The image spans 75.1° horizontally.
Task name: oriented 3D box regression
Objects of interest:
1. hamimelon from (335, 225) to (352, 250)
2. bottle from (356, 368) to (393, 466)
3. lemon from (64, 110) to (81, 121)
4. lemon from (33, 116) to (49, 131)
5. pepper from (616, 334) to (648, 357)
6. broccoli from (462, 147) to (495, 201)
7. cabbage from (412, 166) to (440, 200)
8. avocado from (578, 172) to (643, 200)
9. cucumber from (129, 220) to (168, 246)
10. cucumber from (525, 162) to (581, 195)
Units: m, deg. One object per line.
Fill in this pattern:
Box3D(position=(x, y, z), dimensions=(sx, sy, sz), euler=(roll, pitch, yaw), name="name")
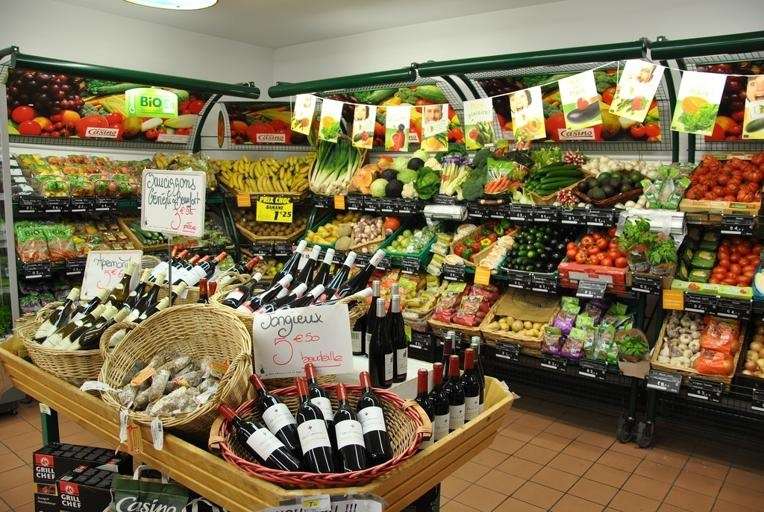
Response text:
Box3D(position=(-0.447, -0.216, 5.970), dimensions=(0.206, 0.297, 0.143), euler=(1, -18, 35), name="hamimelon")
Box3D(position=(-0.033, 0.755, 2.293), dimensions=(0.135, 0.129, 0.485), euler=(-26, 41, 5), name="bottle")
Box3D(position=(-3.418, -1.547, 5.495), dimensions=(0.149, 0.108, 0.109), euler=(-1, 30, -31), name="lemon")
Box3D(position=(-3.682, -1.427, 5.391), dimensions=(0.154, 0.127, 0.142), euler=(4, -2, -10), name="lemon")
Box3D(position=(2.179, 0.781, 4.308), dimensions=(0.211, 0.187, 0.072), euler=(27, 4, 10), name="pepper")
Box3D(position=(1.075, -0.880, 5.310), dimensions=(0.245, 0.205, 0.739), euler=(-6, 35, 36), name="broccoli")
Box3D(position=(0.491, -0.782, 5.412), dimensions=(0.343, 0.319, 0.158), euler=(11, 9, 30), name="cabbage")
Box3D(position=(2.197, -0.686, 4.709), dimensions=(0.485, 0.132, 0.321), euler=(-22, 29, -17), name="avocado")
Box3D(position=(-2.364, -0.216, 5.019), dimensions=(0.257, 0.054, 0.252), euler=(25, 17, 10), name="cucumber")
Box3D(position=(1.748, -0.776, 4.994), dimensions=(0.637, 0.180, 0.267), euler=(-15, 34, -5), name="cucumber")
